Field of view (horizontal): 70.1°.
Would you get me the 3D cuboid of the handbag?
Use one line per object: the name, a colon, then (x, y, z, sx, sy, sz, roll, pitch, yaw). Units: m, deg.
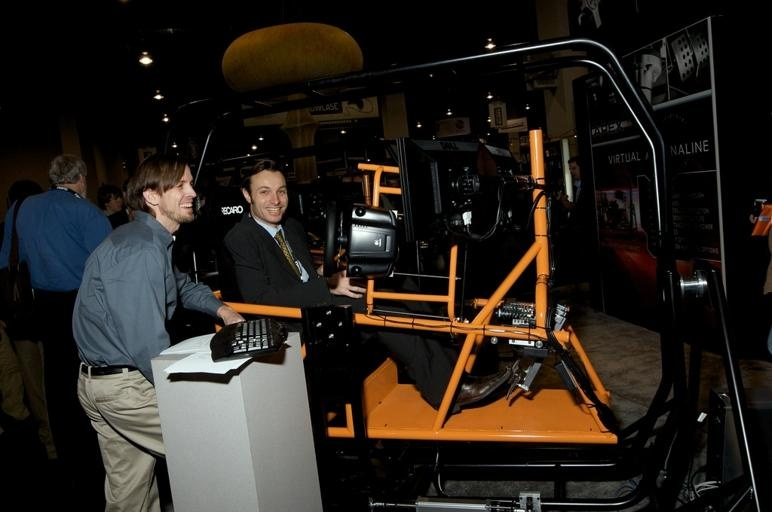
handbag: (-2.880, 0.084, 4.286, 0.214, 1.017, 0.343, -5, 4, -35)

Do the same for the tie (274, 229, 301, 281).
tie: (-0.749, 0.005, 4.143, 0.051, 0.570, 0.118, -30, -40, 5)

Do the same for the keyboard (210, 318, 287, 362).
keyboard: (-0.741, 0.448, 2.922, 0.295, 0.042, 0.216, -6, 29, -10)
